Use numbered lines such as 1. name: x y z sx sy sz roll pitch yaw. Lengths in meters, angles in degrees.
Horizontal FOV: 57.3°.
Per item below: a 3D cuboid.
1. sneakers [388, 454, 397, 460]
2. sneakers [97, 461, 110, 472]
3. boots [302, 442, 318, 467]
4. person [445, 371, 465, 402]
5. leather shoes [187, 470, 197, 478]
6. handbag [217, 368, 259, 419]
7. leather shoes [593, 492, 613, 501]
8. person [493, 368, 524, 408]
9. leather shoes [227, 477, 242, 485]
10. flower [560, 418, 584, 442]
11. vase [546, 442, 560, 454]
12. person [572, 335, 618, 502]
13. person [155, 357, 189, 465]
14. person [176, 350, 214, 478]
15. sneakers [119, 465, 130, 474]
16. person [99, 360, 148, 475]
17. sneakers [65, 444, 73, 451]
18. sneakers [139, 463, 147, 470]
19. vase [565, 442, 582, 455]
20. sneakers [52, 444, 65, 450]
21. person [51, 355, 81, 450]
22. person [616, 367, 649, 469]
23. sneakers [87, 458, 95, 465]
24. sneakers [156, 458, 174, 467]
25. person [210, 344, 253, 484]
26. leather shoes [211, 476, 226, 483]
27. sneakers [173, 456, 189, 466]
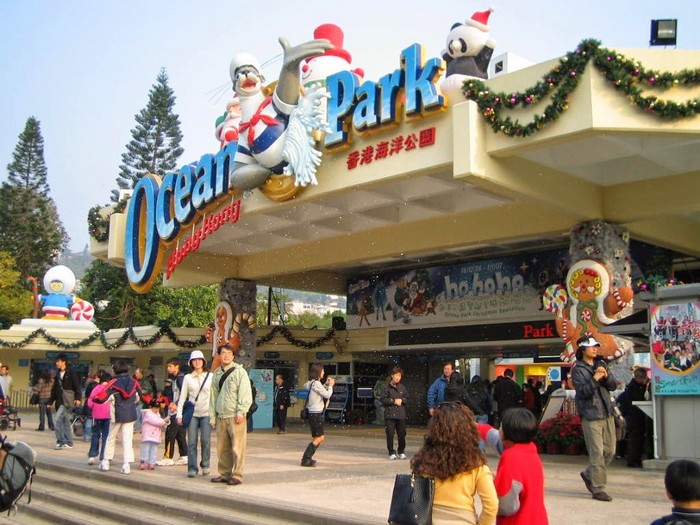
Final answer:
1. sneakers: 0.890 4.065 13.393 0.106 0.111 0.238 -1 1 -1
2. sneakers: -4.324 3.597 11.294 0.117 0.156 0.356 9 -24 -19
3. boots: -0.790 3.608 12.097 0.269 0.423 0.560 0 -10 -5
4. person: 2.056 2.445 12.622 0.380 0.592 0.742 -2 -10 10
5. leather shoes: -2.653 3.534 10.789 0.140 0.137 0.299 3 -11 -17
6. handbag: -1.944 2.088 10.440 0.767 0.912 0.413 -10 -14 20
7. leather shoes: 3.465 3.186 8.755 0.106 0.091 0.214 5 -12 -38
8. person: 3.309 2.692 13.447 0.594 0.888 0.614 -3 -10 13
9. leather shoes: -1.761 3.358 9.852 0.205 0.116 0.174 2 -10 -16
10. flower: 4.699 3.540 13.609 0.392 0.440 0.413 -4 -6 29
11. vase: 4.359 3.996 13.772 0.238 0.246 0.245 -7 -21 28
12. person: 3.445 2.190 8.987 0.606 2.166 0.288 3 -10 -22
13. person: -3.582 3.001 12.728 0.714 2.158 0.664 3 1 10
14. person: -2.568 2.603 10.990 0.811 2.078 0.593 -2 0 10
15. sneakers: -3.846 3.549 10.993 0.116 0.145 0.328 8 -15 -16
16. person: -4.131 2.748 11.496 0.665 1.938 1.279 3 -10 -19
17. sneakers: -6.589 4.312 15.053 0.119 0.101 0.261 -4 -11 20
18. sneakers: -3.764 3.710 11.652 0.130 0.136 0.082 -8 -21 24
19. vase: 4.748 3.935 13.521 0.241 0.183 0.253 1 -16 0
20. sneakers: -6.799 4.314 14.981 0.118 0.125 0.280 6 -19 -34
21. person: -6.862 3.334 15.483 0.597 2.172 1.147 4 -11 -25
22. person: 5.588 3.004 12.576 0.584 1.841 1.036 -5 -11 25
23. sneakers: -5.014 3.845 12.389 0.086 0.108 0.243 4 -18 -15
24. sneakers: -3.598 3.905 12.439 0.325 0.162 0.140 3 0 16
25. person: -1.880 2.408 10.370 0.587 2.183 0.787 6 -11 -32
26. leather shoes: -2.092 3.458 10.204 0.268 0.114 0.128 3 -17 19
27. sneakers: -3.372 3.929 12.752 0.199 0.230 0.503 7 -5 -26
